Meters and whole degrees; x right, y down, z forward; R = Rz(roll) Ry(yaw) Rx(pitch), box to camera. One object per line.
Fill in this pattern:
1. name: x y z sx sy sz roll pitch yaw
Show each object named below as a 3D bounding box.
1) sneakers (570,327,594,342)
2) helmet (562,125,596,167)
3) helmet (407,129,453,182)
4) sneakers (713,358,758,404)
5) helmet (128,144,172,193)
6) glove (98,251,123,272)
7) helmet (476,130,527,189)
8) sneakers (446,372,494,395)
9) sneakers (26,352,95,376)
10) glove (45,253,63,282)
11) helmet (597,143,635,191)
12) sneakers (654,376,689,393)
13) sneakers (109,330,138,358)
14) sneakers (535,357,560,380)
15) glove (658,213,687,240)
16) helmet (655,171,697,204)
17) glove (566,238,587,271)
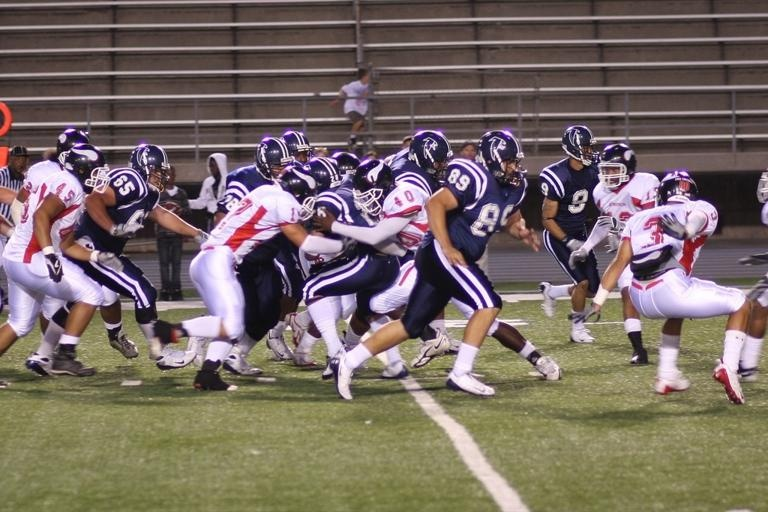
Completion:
1. sneakers: 1.876 0.767 9.729 0.244 0.086 0.112 -1 3 -6
2. helmet: 1.843 -1.049 9.649 0.439 0.343 0.314 8 15 24
3. helmet: 0.333 -0.810 8.330 0.423 0.326 0.297 12 5 -10
4. sneakers: 2.560 0.966 7.548 0.215 0.419 0.146 -43 3 -34
5. helmet: -1.962 -0.769 8.620 0.369 0.306 0.268 25 20 16
6. glove: -2.234 0.053 8.310 0.195 0.123 0.074 25 -58 -39
7. helmet: 0.927 -0.783 7.987 0.486 0.373 0.333 13 10 15
8. sneakers: 0.657 1.007 7.949 0.413 0.134 0.142 5 -7 8
9. sneakers: -2.707 0.915 8.587 0.668 0.222 0.198 1 -4 -4
10. glove: -2.634 0.089 8.111 0.142 0.204 0.069 -17 5 -35
11. helmet: 2.082 -0.800 9.073 0.428 0.340 0.290 -14 12 -10
12. sneakers: 2.205 1.006 7.853 0.318 0.106 0.103 -9 25 -17
13. sneakers: -2.315 0.793 9.014 0.188 0.125 0.267 -23 -50 38
14. sneakers: 1.337 0.909 8.304 0.196 0.196 0.153 3 10 20
15. glove: 2.154 -0.211 7.634 0.147 0.178 0.171 -4 10 -19
16. helmet: 2.330 -0.520 7.967 0.316 0.277 0.337 5 -14 18
17. glove: 1.806 -0.042 9.632 0.105 0.244 0.254 -6 38 -6
